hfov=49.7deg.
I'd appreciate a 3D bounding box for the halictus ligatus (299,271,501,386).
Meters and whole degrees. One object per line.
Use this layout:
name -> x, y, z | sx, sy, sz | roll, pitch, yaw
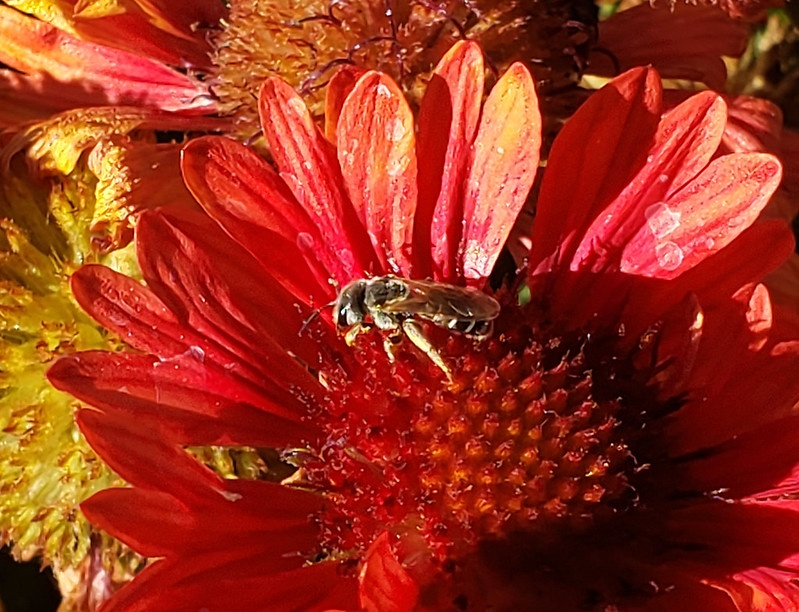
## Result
halictus ligatus -> 0.004, 0.004, 0.792 | 0.172, 0.052, 0.104 | 1, 29, 3
